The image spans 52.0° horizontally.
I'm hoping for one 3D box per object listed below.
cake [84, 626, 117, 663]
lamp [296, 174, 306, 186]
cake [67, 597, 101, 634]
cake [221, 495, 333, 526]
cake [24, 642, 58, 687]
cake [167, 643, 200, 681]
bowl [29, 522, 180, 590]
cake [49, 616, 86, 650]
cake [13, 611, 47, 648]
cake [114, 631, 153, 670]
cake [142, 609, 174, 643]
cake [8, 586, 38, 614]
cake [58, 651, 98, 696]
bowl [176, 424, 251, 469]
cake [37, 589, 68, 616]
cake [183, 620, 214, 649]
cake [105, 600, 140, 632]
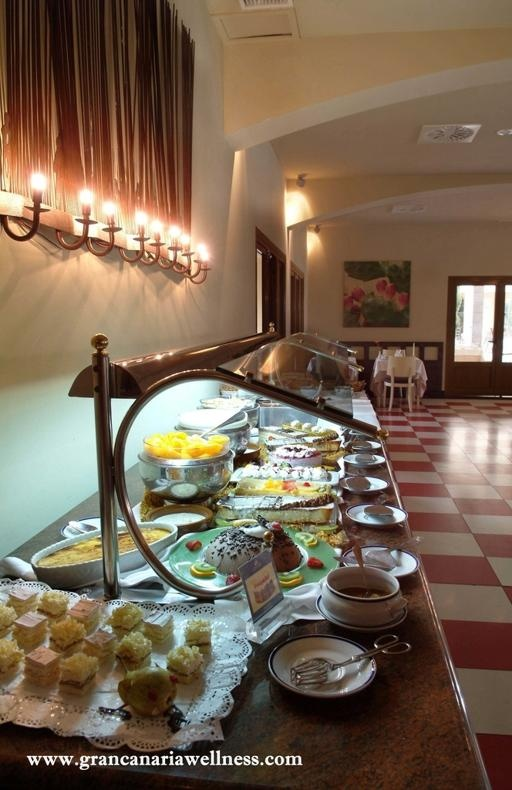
[{"bbox_3d":[-0.212,0.343,0.721,0.034,0.023,0.035,7,8,31],"label":"cake"},{"bbox_3d":[0.540,-2.569,6.276,0.119,0.162,0.083,-3,33,-2],"label":"lamp"},{"bbox_3d":[-0.256,0.327,0.777,0.035,0.022,0.037,10,13,18],"label":"cake"},{"bbox_3d":[0.058,0.286,1.316,0.189,0.042,0.112,1,10,9],"label":"cake"},{"bbox_3d":[-0.268,0.338,0.664,0.038,0.038,0.039,2,-1,11],"label":"cake"},{"bbox_3d":[-0.090,0.339,0.660,0.037,0.037,0.039,9,11,35],"label":"cake"},{"bbox_3d":[-0.291,0.277,0.990,0.115,0.034,0.171,4,8,43],"label":"bowl"},{"bbox_3d":[-0.261,0.330,0.723,0.036,0.033,0.037,14,16,41],"label":"cake"},{"bbox_3d":[-0.321,0.337,0.744,0.037,0.038,0.038,4,9,28],"label":"cake"},{"bbox_3d":[-0.160,0.335,0.683,0.044,0.033,0.043,-13,22,-40],"label":"cake"},{"bbox_3d":[-0.140,0.330,0.750,0.032,0.022,0.033,4,14,20],"label":"cake"},{"bbox_3d":[-0.369,0.324,0.826,0.032,0.016,0.034,13,23,19],"label":"cake"},{"bbox_3d":[-0.217,0.341,0.640,0.041,0.040,0.043,2,8,27],"label":"cake"},{"bbox_3d":[-0.105,0.135,1.678,0.167,0.111,0.181,0,9,0],"label":"bowl"},{"bbox_3d":[-0.308,0.320,0.803,0.036,0.023,0.038,19,4,19],"label":"cake"},{"bbox_3d":[-0.078,0.332,0.722,0.033,0.021,0.033,2,18,0],"label":"cake"},{"bbox_3d":[-0.195,0.325,0.772,0.035,0.018,0.034,10,23,25],"label":"cake"}]
